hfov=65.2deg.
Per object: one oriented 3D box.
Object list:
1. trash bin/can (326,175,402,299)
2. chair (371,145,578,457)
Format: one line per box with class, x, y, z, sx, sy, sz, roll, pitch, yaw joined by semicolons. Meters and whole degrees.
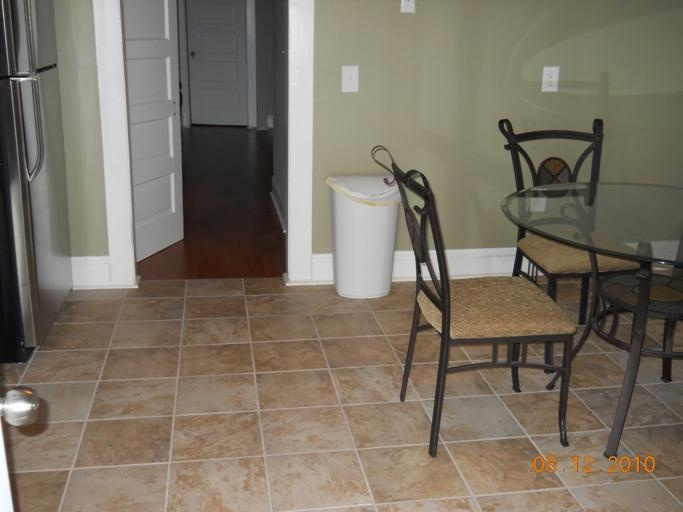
trash bin/can;0.106;-0.209;3.742;0.626;0.914;0.686;4;17;5
chair;0.600;0.240;2.340;0.712;1.046;0.688;4;3;-18
